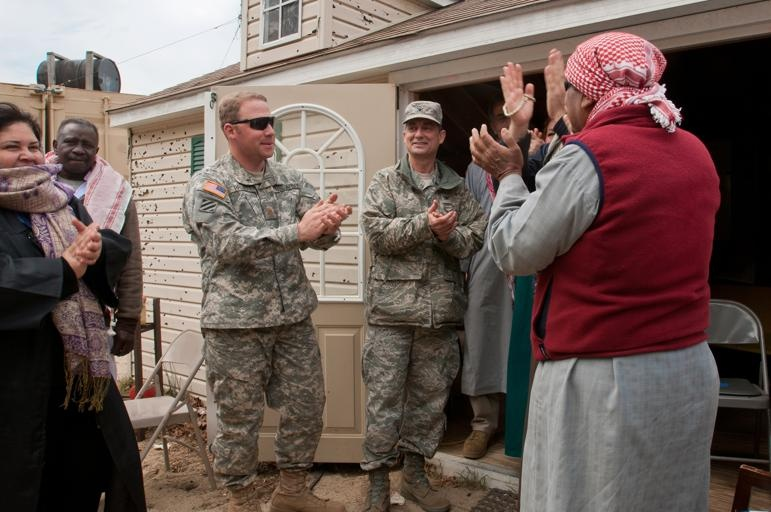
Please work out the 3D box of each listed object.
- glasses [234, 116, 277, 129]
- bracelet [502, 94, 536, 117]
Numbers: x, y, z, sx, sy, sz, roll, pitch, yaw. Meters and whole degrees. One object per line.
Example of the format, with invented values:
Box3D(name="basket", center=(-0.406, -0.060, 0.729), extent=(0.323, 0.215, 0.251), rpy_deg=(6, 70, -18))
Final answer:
Box3D(name="glasses", center=(-0.871, -0.884, 3.900), extent=(0.256, 0.099, 0.068), rpy_deg=(-1, 1, -16))
Box3D(name="bracelet", center=(0.727, -0.796, 3.205), extent=(0.148, 0.109, 0.054), rpy_deg=(-37, -37, -7))
